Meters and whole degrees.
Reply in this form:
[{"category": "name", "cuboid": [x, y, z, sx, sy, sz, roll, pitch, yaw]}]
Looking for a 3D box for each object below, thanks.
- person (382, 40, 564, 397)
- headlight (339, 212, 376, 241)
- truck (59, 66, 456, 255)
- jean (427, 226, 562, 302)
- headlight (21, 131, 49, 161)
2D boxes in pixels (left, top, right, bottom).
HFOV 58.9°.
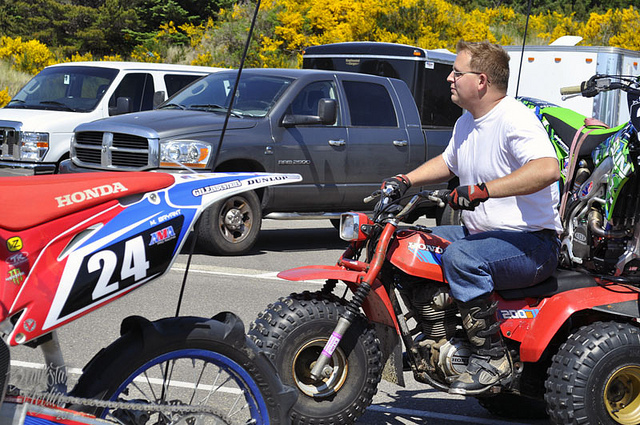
[{"category": "person", "cuboid": [1.186, 0.025, 3.878, 0.986, 2.323, 1.031, 2, 14, 2]}, {"category": "headlight", "cuboid": [0.247, 0.092, 3.713, 0.202, 0.163, 0.162, 0, 0, -25]}, {"category": "truck", "cuboid": [-0.970, -1.230, 9.425, 5.877, 2.233, 3.221, -1, 4, -34]}, {"category": "jean", "cuboid": [1.176, 0.308, 4.041, 1.113, 0.438, 1.004, -6, 6, 21]}, {"category": "headlight", "cuboid": [-5.356, -1.258, 10.644, 0.493, 0.550, 0.394, 5, -1, 19]}]
